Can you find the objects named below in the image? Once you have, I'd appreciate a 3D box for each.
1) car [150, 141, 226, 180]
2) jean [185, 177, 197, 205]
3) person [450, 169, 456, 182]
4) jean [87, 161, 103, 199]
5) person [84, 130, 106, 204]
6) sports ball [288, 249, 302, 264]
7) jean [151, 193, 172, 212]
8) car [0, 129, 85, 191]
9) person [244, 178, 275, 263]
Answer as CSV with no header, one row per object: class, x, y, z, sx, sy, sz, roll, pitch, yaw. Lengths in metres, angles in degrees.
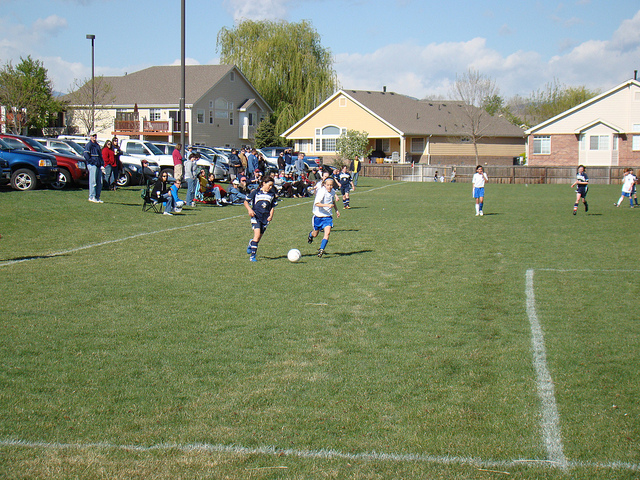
car,-7.033,-3.636,33.520,4.446,2.236,2.185,3,11,4
jean,-4.560,-1.727,24.185,0.384,0.950,0.292,-4,13,-21
person,10.037,-4.811,51.329,0.396,0.902,1.299,3,13,11
jean,-7.268,-1.891,21.736,0.417,1.297,0.532,-4,3,11
person,-7.121,-2.206,21.470,0.535,2.284,1.529,-4,13,-19
sports ball,-0.473,0.313,13.486,0.232,0.249,0.234,19,-17,6
jean,-4.957,-1.156,21.379,0.552,0.710,0.518,3,-1,7
car,-10.890,-2.926,25.054,3.929,2.139,2.029,4,7,-2
person,-1.241,-0.414,13.693,0.613,1.706,0.749,6,14,25
